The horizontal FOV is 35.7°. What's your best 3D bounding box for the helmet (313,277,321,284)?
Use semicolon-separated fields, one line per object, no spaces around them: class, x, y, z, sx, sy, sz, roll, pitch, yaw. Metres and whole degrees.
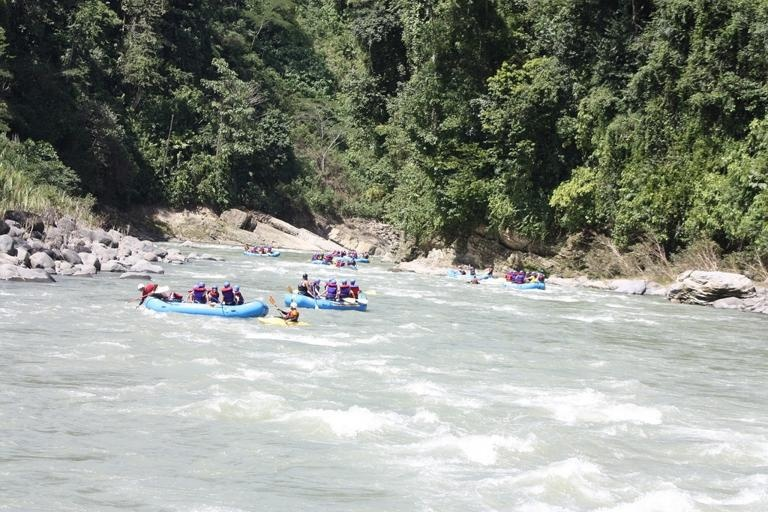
helmet;-3.833;1.321;67.079;0.279;0.319;0.342;5;41;15

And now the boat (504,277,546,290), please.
boat;8.806;1.695;75.090;1.107;0.577;2.643;0;5;-41

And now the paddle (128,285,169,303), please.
paddle;-12.088;1.857;61.266;1.717;0.344;0.928;-5;13;12
